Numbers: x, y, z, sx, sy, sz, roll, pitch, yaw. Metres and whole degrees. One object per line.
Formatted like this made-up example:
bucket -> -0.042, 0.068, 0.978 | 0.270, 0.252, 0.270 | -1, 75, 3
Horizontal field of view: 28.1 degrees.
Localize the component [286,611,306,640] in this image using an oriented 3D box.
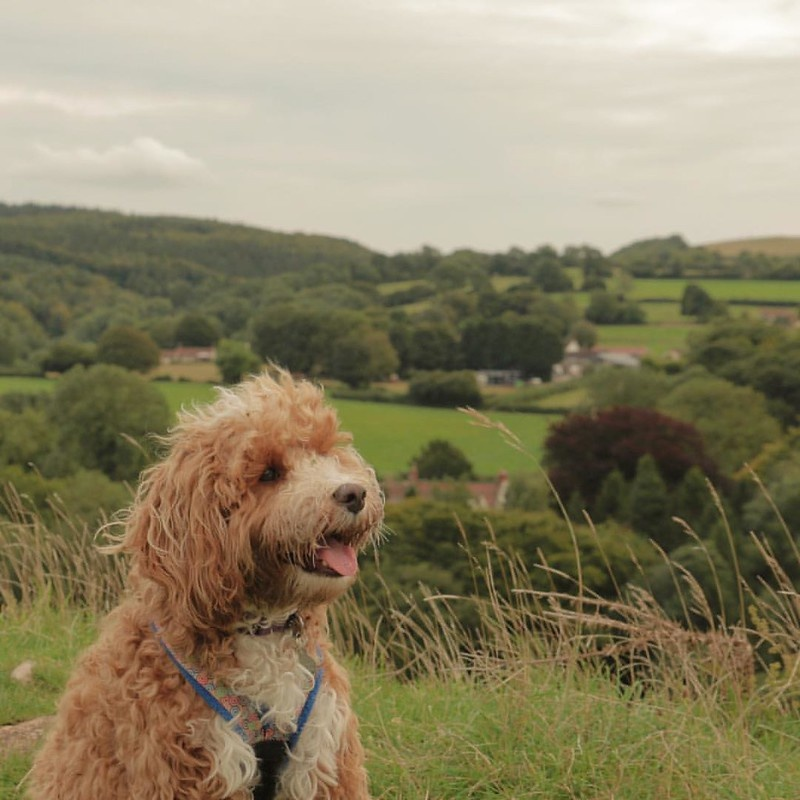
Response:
component -> -1.001, 2.162, 15.225 | 0.078, 0.256, 0.173 | -9, 4, -42
